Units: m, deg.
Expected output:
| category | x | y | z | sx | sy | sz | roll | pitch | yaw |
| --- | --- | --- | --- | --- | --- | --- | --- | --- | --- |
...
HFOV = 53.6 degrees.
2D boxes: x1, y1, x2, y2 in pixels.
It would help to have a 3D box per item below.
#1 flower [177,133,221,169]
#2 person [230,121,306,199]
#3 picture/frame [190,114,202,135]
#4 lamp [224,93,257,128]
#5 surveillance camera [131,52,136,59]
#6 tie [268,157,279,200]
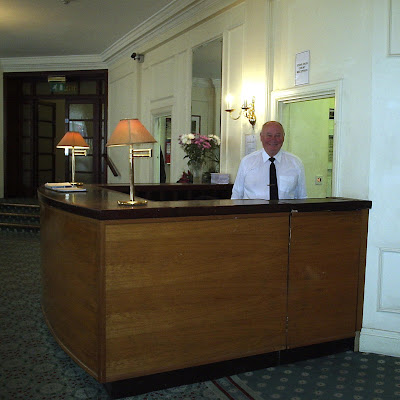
| category | x | y | z | sx | sy | sz | roll | pitch | yaw |
| --- | --- | --- | --- | --- | --- | --- | --- | --- | --- |
| flower | -0.059 | -0.761 | 6.104 | 0.519 | 0.510 | 0.445 | 14 | 14 | 4 |
| person | 0.651 | -0.379 | 3.848 | 0.731 | 0.755 | 0.444 | 1 | 6 | 15 |
| picture/frame | -0.066 | -1.280 | 6.676 | 0.032 | 0.510 | 0.396 | -4 | 9 | -25 |
| lamp | 0.571 | -1.133 | 5.476 | 0.343 | 0.555 | 0.494 | 8 | 0 | -34 |
| surveillance camera | -1.426 | -3.108 | 8.492 | 0.097 | 0.113 | 0.264 | -3 | 7 | -16 |
| tie | 0.702 | -0.214 | 3.788 | 0.094 | 0.397 | 0.175 | 0 | 6 | 9 |
